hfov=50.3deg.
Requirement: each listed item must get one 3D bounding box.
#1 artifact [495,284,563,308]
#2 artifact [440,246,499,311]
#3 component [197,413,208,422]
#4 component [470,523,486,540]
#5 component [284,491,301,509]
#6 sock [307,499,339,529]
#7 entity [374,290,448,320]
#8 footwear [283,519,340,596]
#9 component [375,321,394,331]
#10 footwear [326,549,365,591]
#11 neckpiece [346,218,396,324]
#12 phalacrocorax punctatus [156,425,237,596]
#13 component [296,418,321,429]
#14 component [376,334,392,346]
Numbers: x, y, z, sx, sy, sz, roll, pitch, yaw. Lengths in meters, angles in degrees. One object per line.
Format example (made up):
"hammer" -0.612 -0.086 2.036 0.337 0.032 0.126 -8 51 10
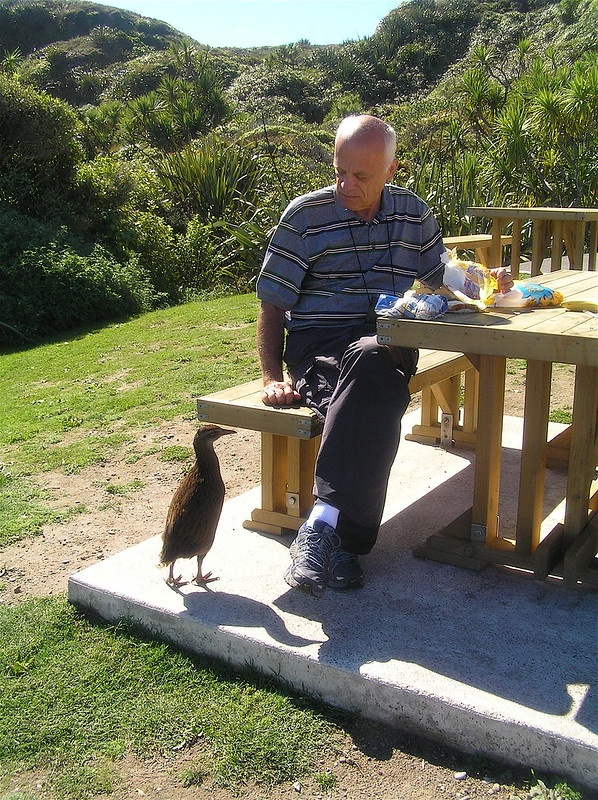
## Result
"artifact" 0.784 -0.356 2.196 0.150 0.043 0.122 -6 18 -18
"artifact" 0.559 -0.388 2.105 0.226 0.088 0.175 38 22 14
"component" -0.364 0.068 2.434 0.054 0.037 0.013 8 19 43
"component" 0.661 0.489 2.348 0.056 0.053 0.057 3 7 32
"component" -0.028 0.427 2.680 0.066 0.069 0.026 2 10 32
"sock" 0.080 0.363 2.075 0.078 0.090 0.103 22 -20 15
"entity" 0.341 -0.289 1.963 0.155 0.055 0.133 4 19 23
"footwear" 0.041 0.478 1.947 0.189 0.201 0.327 2 12 7
"component" 0.259 -0.224 1.931 0.033 0.023 0.035 4 6 38
"footwear" 0.154 0.583 2.171 0.081 0.091 0.203 0 -2 -2
"neckpiece" 0.276 -0.499 2.466 0.187 0.380 0.210 10 16 27
"phalacrocorax punctatus" -0.382 0.372 2.262 0.298 0.518 0.204 1 -5 -39
"component" 0.037 0.073 2.154 0.045 0.041 0.062 -7 13 -23
"component" 0.260 -0.183 1.949 0.044 0.034 0.022 8 17 42
